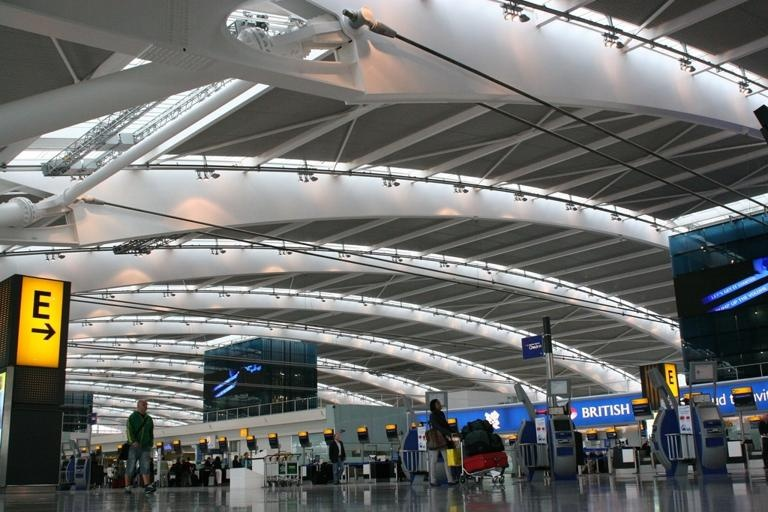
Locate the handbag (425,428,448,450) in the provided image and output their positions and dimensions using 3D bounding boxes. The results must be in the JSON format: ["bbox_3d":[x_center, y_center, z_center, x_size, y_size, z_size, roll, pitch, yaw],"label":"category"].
[{"bbox_3d":[1.464,5.154,20.780,0.563,0.540,0.362,-6,-21,6],"label":"handbag"}]

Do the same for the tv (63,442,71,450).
[{"bbox_3d":[-16.249,9.768,37.892,0.415,0.521,1.724,5,-18,-21],"label":"tv"}]

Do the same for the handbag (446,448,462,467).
[{"bbox_3d":[2.009,5.902,21.574,0.354,0.504,0.986,-10,-18,27],"label":"handbag"}]

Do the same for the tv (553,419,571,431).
[{"bbox_3d":[5.371,5.173,22.579,0.761,0.357,0.331,1,-22,-4],"label":"tv"}]

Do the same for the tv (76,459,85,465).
[{"bbox_3d":[-13.093,8.949,31.923,0.452,0.303,0.217,-1,-8,6],"label":"tv"}]

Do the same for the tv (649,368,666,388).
[{"bbox_3d":[8.764,3.894,23.790,0.437,0.646,0.810,-11,-20,17],"label":"tv"}]

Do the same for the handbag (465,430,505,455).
[{"bbox_3d":[2.789,5.213,20.497,0.959,0.493,0.914,9,-14,-44],"label":"handbag"}]

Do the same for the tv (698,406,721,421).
[{"bbox_3d":[10.143,4.930,23.062,0.739,0.503,0.152,2,-23,-14],"label":"tv"}]

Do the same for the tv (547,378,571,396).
[{"bbox_3d":[5.814,4.338,24.523,0.620,0.554,0.881,-3,-18,-1],"label":"tv"}]
